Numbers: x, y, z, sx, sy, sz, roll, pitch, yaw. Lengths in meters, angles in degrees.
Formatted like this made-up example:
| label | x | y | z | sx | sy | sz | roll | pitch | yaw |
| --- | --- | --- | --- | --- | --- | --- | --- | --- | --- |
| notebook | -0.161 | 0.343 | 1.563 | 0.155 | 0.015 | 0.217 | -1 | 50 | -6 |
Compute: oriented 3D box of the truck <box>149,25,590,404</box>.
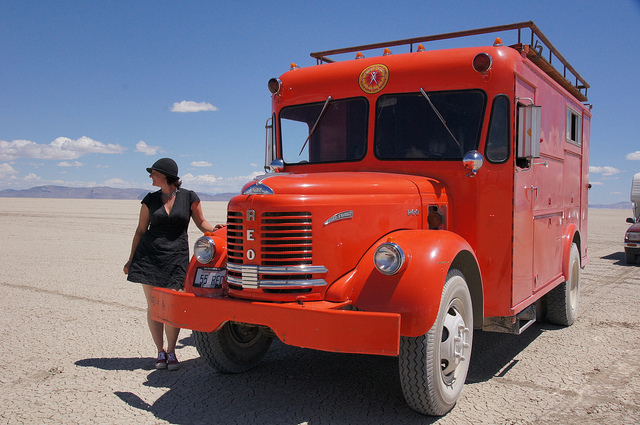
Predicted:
| label | x | y | z | sx | sy | sz | roll | pitch | yaw |
| --- | --- | --- | --- | --- | --- | --- | --- | --- | --- |
| truck | 1.736 | -0.319 | 7.689 | 4.182 | 4.804 | 8.098 | 1 | 2 | 38 |

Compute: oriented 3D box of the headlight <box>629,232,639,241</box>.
| label | x | y | z | sx | sy | sz | roll | pitch | yaw |
| --- | --- | --- | --- | --- | --- | --- | --- | --- | --- |
| headlight | 9.883 | 0.760 | 14.001 | 0.352 | 0.266 | 0.201 | 0 | 1 | -5 |

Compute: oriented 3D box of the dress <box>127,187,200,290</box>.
| label | x | y | z | sx | sy | sz | roll | pitch | yaw |
| --- | --- | --- | --- | --- | --- | --- | --- | --- | --- |
| dress | -2.075 | 0.285 | 5.924 | 0.824 | 1.345 | 0.435 | 7 | 6 | -9 |

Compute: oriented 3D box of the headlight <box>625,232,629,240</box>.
| label | x | y | z | sx | sy | sz | roll | pitch | yaw |
| --- | --- | --- | --- | --- | --- | --- | --- | --- | --- |
| headlight | 9.777 | 0.766 | 14.149 | 0.134 | 0.243 | 0.065 | 6 | 3 | 37 |

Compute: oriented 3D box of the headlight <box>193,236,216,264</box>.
| label | x | y | z | sx | sy | sz | roll | pitch | yaw |
| --- | --- | --- | --- | --- | --- | --- | --- | --- | --- |
| headlight | -1.362 | 0.443 | 5.333 | 0.300 | 0.373 | 0.200 | 8 | 7 | 24 |
